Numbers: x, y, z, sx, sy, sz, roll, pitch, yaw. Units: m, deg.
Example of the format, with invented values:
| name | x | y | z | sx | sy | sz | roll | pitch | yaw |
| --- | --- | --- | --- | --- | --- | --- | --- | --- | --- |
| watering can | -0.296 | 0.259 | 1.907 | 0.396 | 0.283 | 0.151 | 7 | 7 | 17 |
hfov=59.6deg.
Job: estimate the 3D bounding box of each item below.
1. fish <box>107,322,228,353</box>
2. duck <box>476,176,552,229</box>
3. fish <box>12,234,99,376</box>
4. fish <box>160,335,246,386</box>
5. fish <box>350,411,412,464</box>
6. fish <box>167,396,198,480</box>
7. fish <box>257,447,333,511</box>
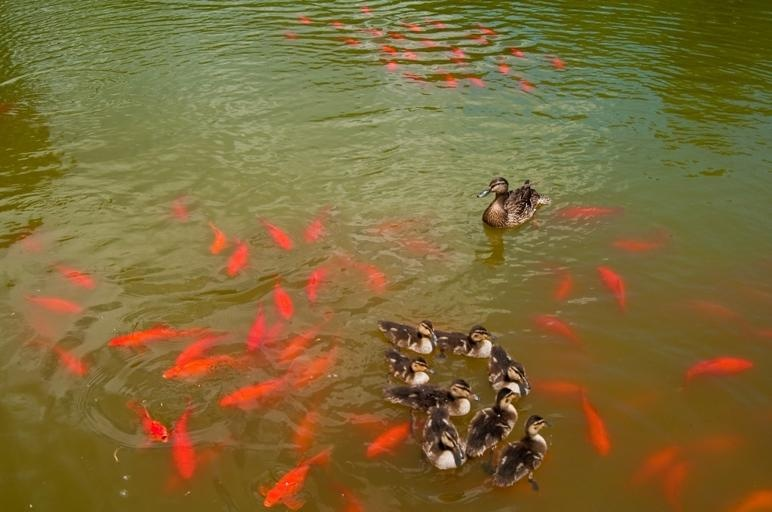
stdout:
| name | x | y | z | sx | sy | sz | roll | pitch | yaw |
| --- | --- | --- | --- | --- | --- | --- | --- | --- | --- |
| fish | -5.227 | 1.846 | 15.392 | 2.002 | 0.705 | 0.451 | -2 | 60 | 5 |
| duck | 3.412 | -1.418 | 18.167 | 1.773 | 1.155 | 1.037 | 0 | 47 | 7 |
| fish | -7.979 | 0.968 | 16.219 | 1.632 | 0.629 | 4.753 | -31 | 48 | -25 |
| fish | -4.103 | 2.367 | 15.049 | 1.480 | 0.293 | 0.640 | -24 | 43 | -32 |
| fish | -0.078 | 3.667 | 14.115 | 1.051 | 0.398 | 2.305 | -15 | 12 | -31 |
| fish | -4.224 | 3.817 | 14.206 | 0.648 | 0.680 | 1.668 | -12 | 63 | -3 |
| fish | -1.817 | 4.577 | 13.735 | 1.684 | 0.666 | 0.537 | -33 | 69 | -13 |
